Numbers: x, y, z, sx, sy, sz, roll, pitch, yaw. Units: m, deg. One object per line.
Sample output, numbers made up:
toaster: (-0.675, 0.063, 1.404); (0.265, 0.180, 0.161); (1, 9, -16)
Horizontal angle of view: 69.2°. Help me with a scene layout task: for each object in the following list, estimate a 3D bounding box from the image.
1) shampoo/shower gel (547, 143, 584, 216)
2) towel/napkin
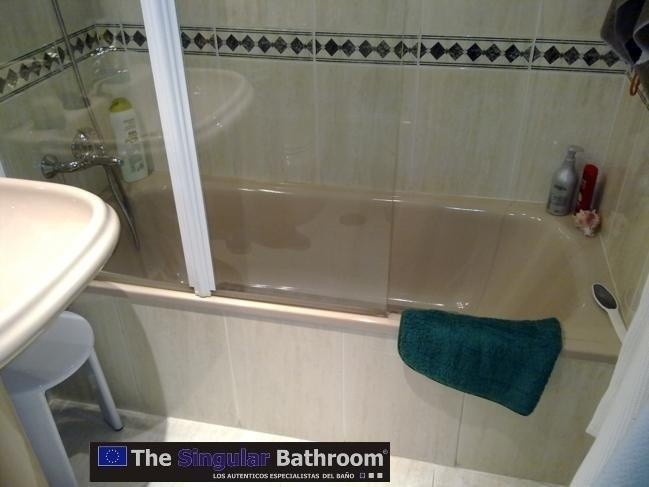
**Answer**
shampoo/shower gel: (0.950, -0.256, 1.860); (0.114, 0.325, 0.113); (-29, 39, -31)
towel/napkin: (0.440, 0.331, 1.406); (0.436, 0.172, 0.306); (11, 68, 28)
